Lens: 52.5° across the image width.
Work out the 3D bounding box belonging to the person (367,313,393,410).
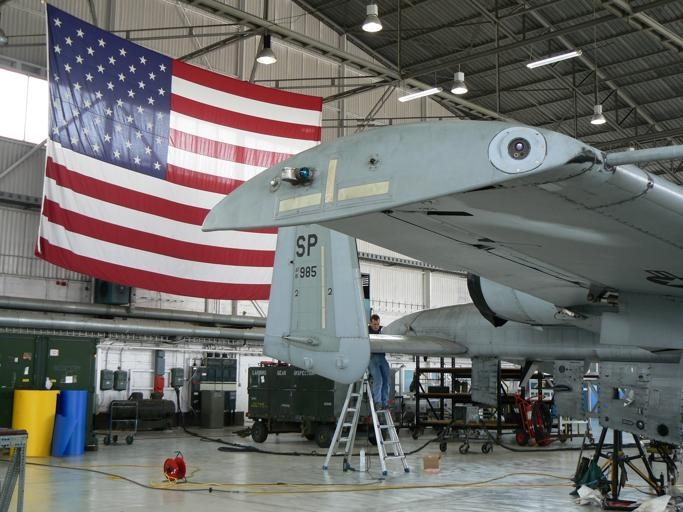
[{"bbox_3d":[0.743,1.979,13.103,0.597,1.721,0.600,-10,-12,24],"label":"person"}]

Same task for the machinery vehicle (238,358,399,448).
[{"bbox_3d":[-0.536,3.778,17.760,2.124,1.854,3.726,9,-14,-38],"label":"machinery vehicle"}]
